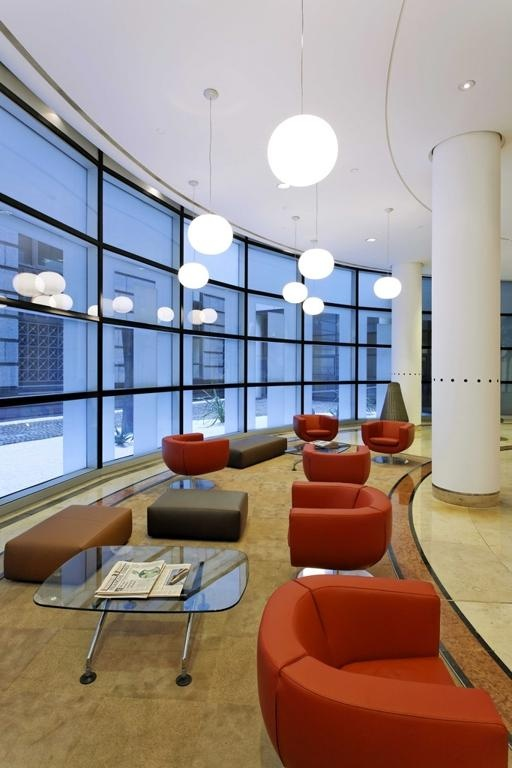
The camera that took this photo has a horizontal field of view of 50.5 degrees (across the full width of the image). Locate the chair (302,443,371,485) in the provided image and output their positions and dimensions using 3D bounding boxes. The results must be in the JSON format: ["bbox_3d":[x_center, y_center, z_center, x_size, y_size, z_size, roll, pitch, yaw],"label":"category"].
[{"bbox_3d":[0.779,0.805,5.309,0.639,0.294,0.433,2,5,5],"label":"chair"}]

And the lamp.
[{"bbox_3d":[0.117,-1.400,4.534,1.981,2.387,1.950,1,4,33],"label":"lamp"}]

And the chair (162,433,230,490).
[{"bbox_3d":[-0.736,0.912,6.344,0.661,0.609,0.719,-3,7,-25],"label":"chair"}]

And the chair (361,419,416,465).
[{"bbox_3d":[1.981,0.853,8.143,0.710,0.611,0.894,3,6,22],"label":"chair"}]

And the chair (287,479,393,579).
[{"bbox_3d":[0.580,0.995,3.783,0.665,0.461,0.727,0,6,1],"label":"chair"}]

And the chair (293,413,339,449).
[{"bbox_3d":[0.963,0.757,9.037,0.598,0.576,0.511,1,-6,-14],"label":"chair"}]
